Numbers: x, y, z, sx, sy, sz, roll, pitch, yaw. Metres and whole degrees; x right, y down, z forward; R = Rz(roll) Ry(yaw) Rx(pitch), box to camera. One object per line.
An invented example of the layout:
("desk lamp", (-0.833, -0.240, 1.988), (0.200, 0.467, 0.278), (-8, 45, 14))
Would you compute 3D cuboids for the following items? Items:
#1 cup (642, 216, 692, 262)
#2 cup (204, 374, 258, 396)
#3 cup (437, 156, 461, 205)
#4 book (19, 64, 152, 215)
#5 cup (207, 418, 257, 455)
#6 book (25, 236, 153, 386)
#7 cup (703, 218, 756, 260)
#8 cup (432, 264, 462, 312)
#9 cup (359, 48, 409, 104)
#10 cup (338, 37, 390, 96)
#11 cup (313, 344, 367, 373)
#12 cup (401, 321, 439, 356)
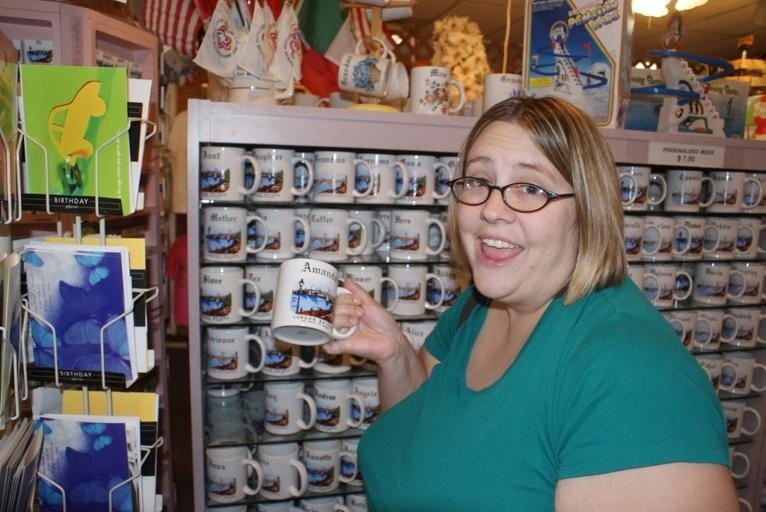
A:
("cup", (1.122, -0.075, 2.547), (0.243, 0.215, 0.143), (1, 1, -8))
("cup", (-0.573, 0.489, 2.358), (0.156, 0.103, 0.098), (17, -4, -26))
("cup", (0.266, -0.277, 2.307), (0.101, 0.154, 0.171), (7, 20, 23))
("book", (-0.796, -0.308, 1.648), (0.374, 0.442, 0.062), (3, 8, 2))
("cup", (-0.564, 0.664, 2.331), (0.166, 0.111, 0.104), (2, -2, 0))
("book", (-0.789, 0.144, 1.664), (0.387, 0.441, 0.090), (-2, 4, 7))
("cup", (1.473, -0.083, 2.658), (0.236, 0.169, 0.149), (0, 4, 7))
("cup", (0.244, 0.112, 2.449), (0.108, 0.157, 0.179), (1, 19, 5))
("cup", (0.013, -0.656, 2.370), (0.149, 0.216, 0.135), (13, 6, 16))
("cup", (-0.059, -0.681, 2.383), (0.178, 0.258, 0.155), (13, 1, 8))
("cup", (-0.180, 0.397, 2.421), (0.201, 0.134, 0.131), (13, -9, -16))
("cup", (0.130, 0.300, 2.382), (0.119, 0.087, 0.118), (0, 6, 0))
